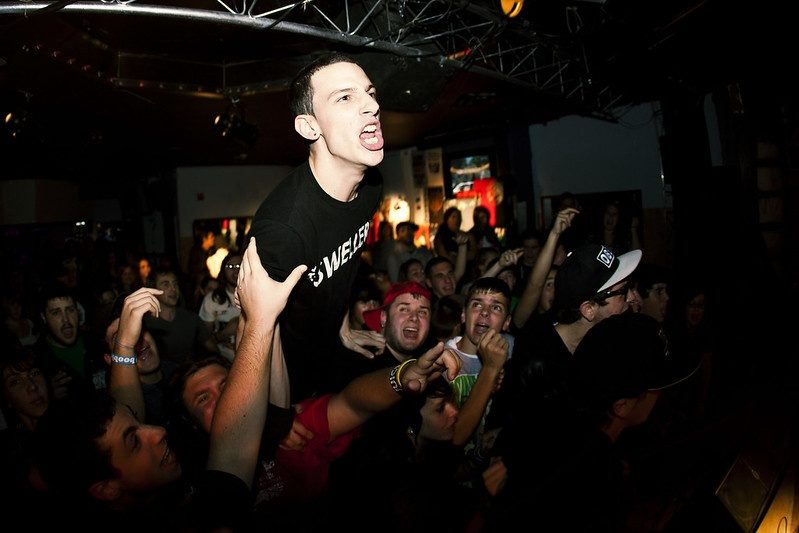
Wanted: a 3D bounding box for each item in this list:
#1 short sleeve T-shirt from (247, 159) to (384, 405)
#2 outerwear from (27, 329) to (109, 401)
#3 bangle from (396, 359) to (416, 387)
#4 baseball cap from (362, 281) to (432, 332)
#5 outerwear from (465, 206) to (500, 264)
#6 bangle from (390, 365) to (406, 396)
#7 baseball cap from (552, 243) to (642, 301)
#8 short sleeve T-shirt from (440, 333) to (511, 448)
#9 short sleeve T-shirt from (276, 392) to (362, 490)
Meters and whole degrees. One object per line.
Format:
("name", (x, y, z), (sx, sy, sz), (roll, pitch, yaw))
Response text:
("short sleeve T-shirt", (-0.696, 0.224, 4.902), (0.653, 1.956, 1.558), (30, 42, 7))
("outerwear", (-3.513, 0.970, 6.181), (0.600, 0.580, 0.328), (-27, 51, -33))
("bangle", (0.034, 0.841, 4.500), (0.065, 0.196, 0.189), (5, -6, 30))
("baseball cap", (-0.071, 0.393, 5.901), (0.684, 0.269, 0.468), (-35, -43, 24))
("outerwear", (1.600, -0.257, 10.839), (0.639, 1.726, 0.595), (-1, 8, -6))
("bangle", (-0.012, 0.899, 4.466), (0.162, 0.195, 0.072), (-24, -13, 30))
("baseball cap", (1.911, 0.077, 5.530), (0.728, 0.292, 0.536), (-33, 22, 23))
("short sleeve T-shirt", (0.676, 1.084, 4.918), (0.264, 0.967, 0.689), (21, -9, 21))
("short sleeve T-shirt", (-0.666, 1.478, 4.730), (0.646, 0.663, 0.364), (19, 4, 39))
